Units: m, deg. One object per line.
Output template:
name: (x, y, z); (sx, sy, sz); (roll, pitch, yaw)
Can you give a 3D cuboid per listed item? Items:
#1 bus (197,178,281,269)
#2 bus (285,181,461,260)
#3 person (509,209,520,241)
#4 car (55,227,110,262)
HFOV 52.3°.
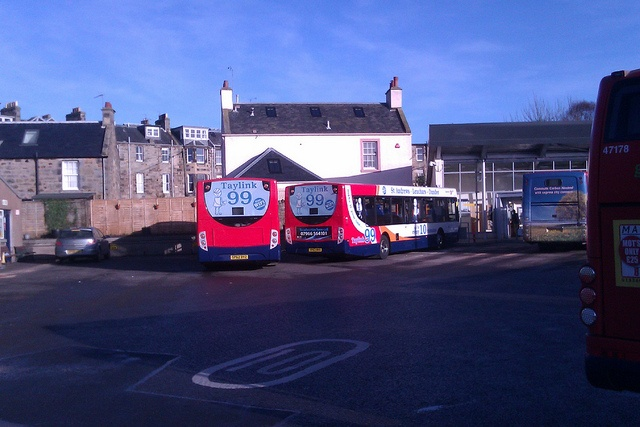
bus: (-2.860, 0.283, 22.692); (3.218, 3.129, 1.161); (0, -1, -2)
bus: (2.731, 0.180, 28.373); (2.786, 2.888, 10.400); (0, 1, 41)
person: (10.858, 0.579, 36.247); (0.440, 1.509, 2.306); (0, 5, 17)
car: (-10.522, 1.404, 29.130); (1.484, 1.575, 2.489); (0, 5, 16)
